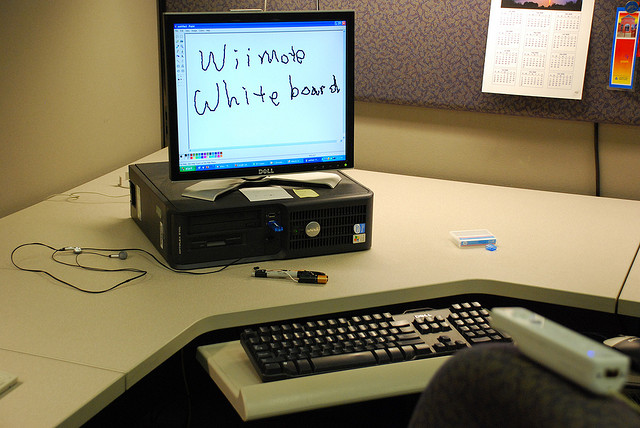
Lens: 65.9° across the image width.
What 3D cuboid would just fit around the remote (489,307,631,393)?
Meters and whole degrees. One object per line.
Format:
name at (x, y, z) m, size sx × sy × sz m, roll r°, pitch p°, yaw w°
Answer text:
remote at (0.211, 0.111, 0.431) m, size 0.059 × 0.040 × 0.106 m, roll -18°, pitch 26°, yaw -42°

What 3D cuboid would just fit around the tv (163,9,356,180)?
tv at (-0.158, -0.311, 1.247) m, size 0.425 × 0.347 × 0.148 m, roll -3°, pitch 15°, yaw -14°

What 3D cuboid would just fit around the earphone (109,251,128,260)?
earphone at (-0.486, 0.099, 1.194) m, size 0.036 × 0.020 × 0.021 m, roll 2°, pitch -21°, yaw 2°
